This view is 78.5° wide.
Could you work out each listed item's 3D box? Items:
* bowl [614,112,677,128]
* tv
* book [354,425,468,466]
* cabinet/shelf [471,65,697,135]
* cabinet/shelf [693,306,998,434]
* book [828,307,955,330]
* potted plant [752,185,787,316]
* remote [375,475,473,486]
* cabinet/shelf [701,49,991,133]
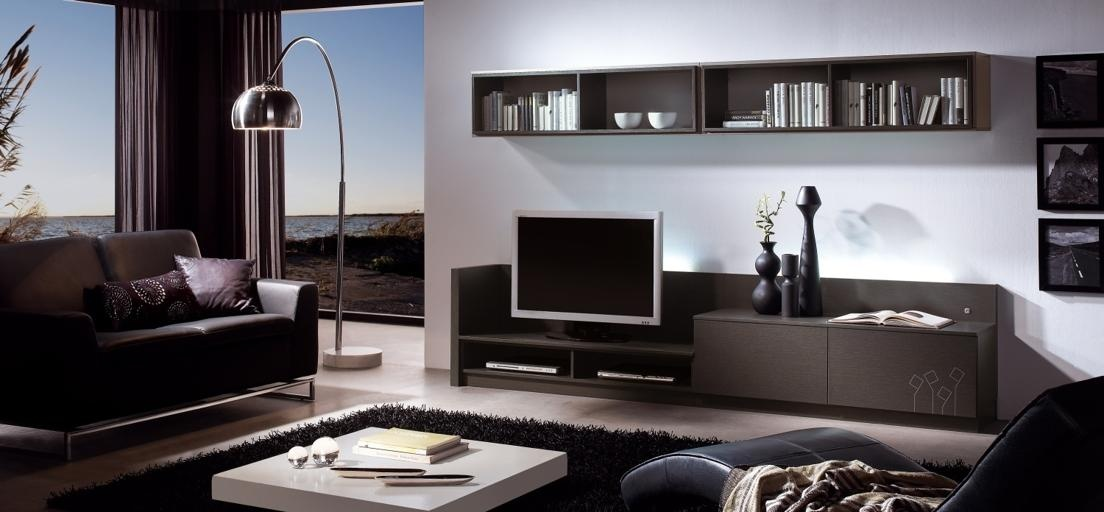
[{"bbox_3d":[0.948,-1.372,6.798,0.542,0.111,0.236,0,3,10],"label":"bowl"},{"bbox_3d":[0.377,0.158,6.746,1.791,1.120,0.602,0,-1,13],"label":"tv"},{"bbox_3d":[-0.938,1.296,4.641,0.427,0.064,0.282,3,5,20],"label":"book"},{"bbox_3d":[0.422,-1.599,7.250,2.543,0.603,0.600,4,3,24],"label":"cabinet/shelf"},{"bbox_3d":[2.859,1.144,6.426,3.448,0.924,0.990,3,8,21],"label":"cabinet/shelf"},{"bbox_3d":[3.068,0.545,6.115,1.076,0.100,0.352,3,11,14],"label":"book"},{"bbox_3d":[2.095,-0.046,6.506,0.295,1.144,0.521,3,13,15],"label":"potted plant"},{"bbox_3d":[-0.790,1.438,4.332,0.570,0.049,0.053,-1,12,-2],"label":"remote"},{"bbox_3d":[2.584,-1.497,6.262,2.314,0.511,0.529,1,9,16],"label":"cabinet/shelf"}]
